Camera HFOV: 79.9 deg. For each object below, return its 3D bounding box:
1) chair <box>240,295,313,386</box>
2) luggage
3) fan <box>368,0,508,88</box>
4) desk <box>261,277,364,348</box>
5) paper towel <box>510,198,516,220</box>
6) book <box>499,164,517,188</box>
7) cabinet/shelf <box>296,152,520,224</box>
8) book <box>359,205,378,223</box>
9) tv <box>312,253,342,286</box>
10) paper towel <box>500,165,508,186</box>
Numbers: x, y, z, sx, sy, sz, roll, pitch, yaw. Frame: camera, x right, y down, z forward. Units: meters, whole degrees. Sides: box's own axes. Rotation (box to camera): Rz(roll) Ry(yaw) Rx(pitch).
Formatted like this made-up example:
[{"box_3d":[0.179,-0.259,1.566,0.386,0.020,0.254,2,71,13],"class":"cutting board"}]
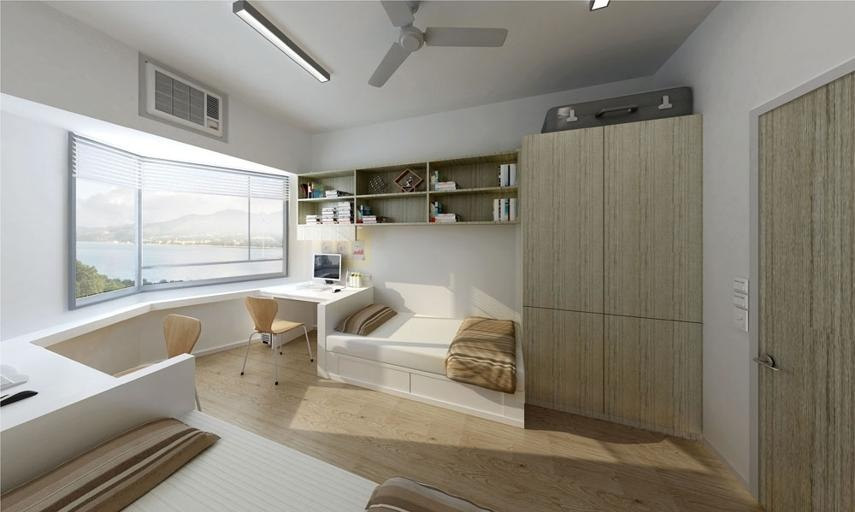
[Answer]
[{"box_3d":[-1.743,0.924,6.134,0.566,0.886,0.617,7,10,30],"class":"chair"},{"box_3d":[2.025,-1.523,5.322,0.759,0.162,0.756,-4,1,39],"class":"luggage"},{"box_3d":[0.061,-2.072,4.891,1.374,0.612,0.551,-2,5,11],"class":"fan"},{"box_3d":[-1.301,0.571,6.415,1.244,0.707,0.814,4,9,26],"class":"desk"},{"box_3d":[0.986,-0.528,5.870,0.064,0.241,0.029,-2,5,7],"class":"paper towel"},{"box_3d":[0.938,-0.933,6.027,0.258,0.324,0.254,0,2,21],"class":"book"},{"box_3d":[-0.293,-0.768,6.875,3.783,0.797,0.494,3,2,40],"class":"cabinet/shelf"},{"box_3d":[-0.738,-0.539,6.618,0.100,0.209,0.253,-6,-6,19],"class":"book"},{"box_3d":[-1.289,0.182,6.834,0.466,0.415,0.156,1,-4,13],"class":"tv"},{"box_3d":[0.894,-0.928,5.861,0.051,0.184,0.212,2,6,14],"class":"paper towel"}]
